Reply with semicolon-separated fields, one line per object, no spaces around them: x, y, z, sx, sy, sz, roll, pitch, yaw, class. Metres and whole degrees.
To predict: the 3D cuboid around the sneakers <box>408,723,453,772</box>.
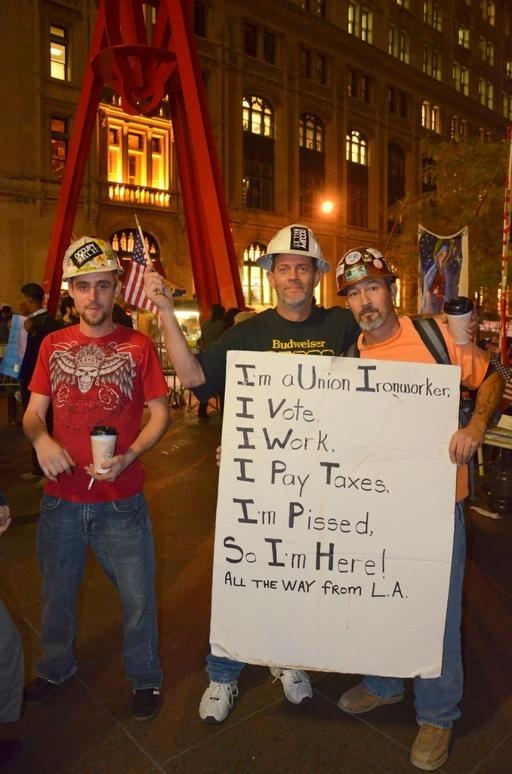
0.757;1.541;2.801;0.133;0.117;0.241;4;7;32;sneakers

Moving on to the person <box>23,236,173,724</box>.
-0.765;0.606;3.064;0.675;1.889;0.547;0;6;-2;person

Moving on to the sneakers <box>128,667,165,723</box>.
-0.523;1.480;3.084;0.092;0.110;0.257;0;-12;3;sneakers

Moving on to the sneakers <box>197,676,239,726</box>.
-0.187;1.491;3.091;0.122;0.150;0.188;3;7;19;sneakers

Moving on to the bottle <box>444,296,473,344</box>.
0.892;-0.287;2.858;0.121;0.209;0.235;2;7;17;bottle

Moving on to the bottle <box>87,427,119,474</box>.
-0.654;0.271;2.791;0.106;0.206;0.091;-1;7;-11;bottle

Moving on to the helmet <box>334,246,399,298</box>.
0.510;-0.549;3.075;0.211;0.222;0.271;-17;13;30;helmet

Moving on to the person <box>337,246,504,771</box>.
0.773;0.483;3.013;0.614;2.239;0.691;-4;8;-32;person

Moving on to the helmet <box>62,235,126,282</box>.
-0.806;-0.605;3.143;0.201;0.139;0.252;-15;9;-4;helmet

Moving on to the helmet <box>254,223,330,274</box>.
0.205;-0.721;3.205;0.346;0.194;0.395;15;9;29;helmet

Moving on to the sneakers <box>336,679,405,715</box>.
0.574;1.525;3.205;0.298;0.127;0.120;1;-4;-8;sneakers
